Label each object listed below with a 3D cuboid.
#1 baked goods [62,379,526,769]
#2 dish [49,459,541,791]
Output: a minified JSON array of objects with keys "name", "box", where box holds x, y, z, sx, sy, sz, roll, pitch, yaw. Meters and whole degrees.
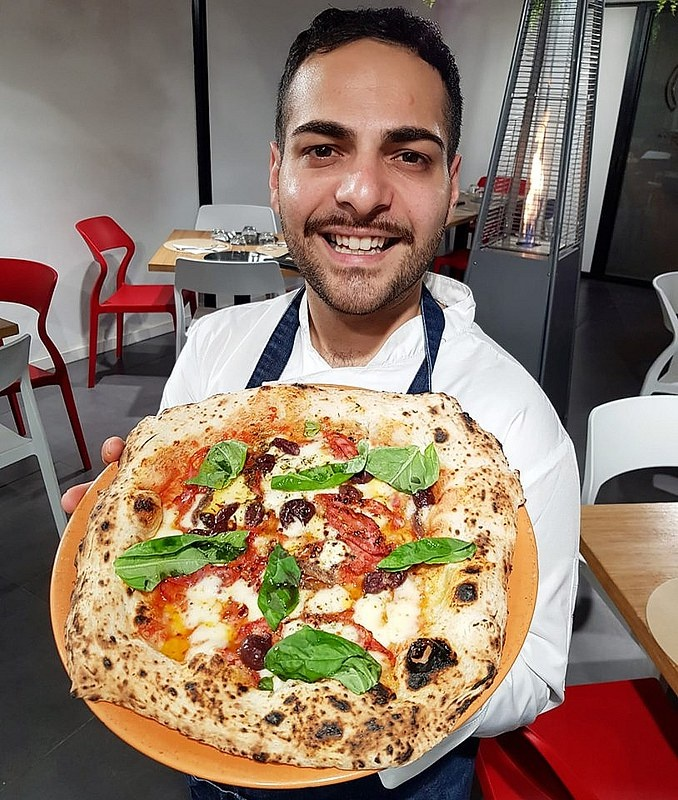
[{"name":"baked goods","box":[-0.178,0.342,1.137,0.931,0.898,0.150,22,70,27]},{"name":"dish","box":[-0.074,0.225,0.691,0.588,0.159,0.389,6,21,4]}]
